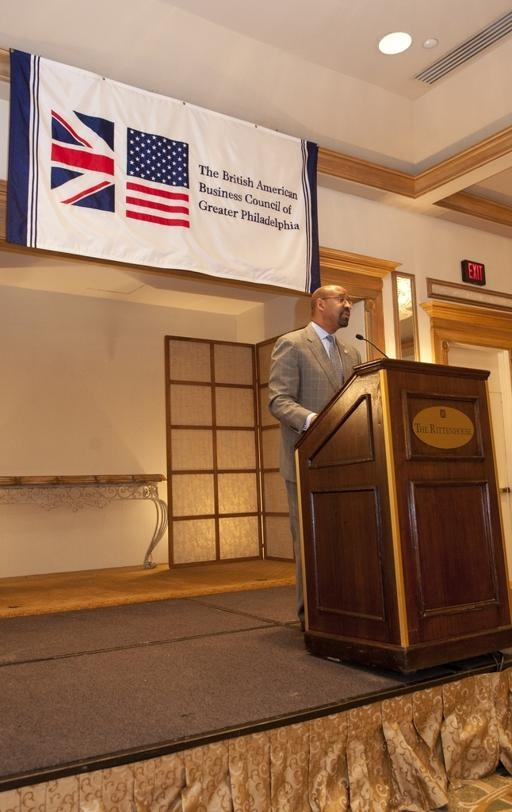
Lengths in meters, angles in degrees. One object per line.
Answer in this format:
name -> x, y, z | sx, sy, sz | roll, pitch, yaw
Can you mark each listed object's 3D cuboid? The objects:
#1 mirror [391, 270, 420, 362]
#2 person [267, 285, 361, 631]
mirror -> 1.317, -0.799, 5.420 | 0.332, 0.773, 0.104 | 6, -12, -38
person -> 0.245, 0.183, 2.499 | 0.372, 1.465, 0.699 | -3, -10, 10
